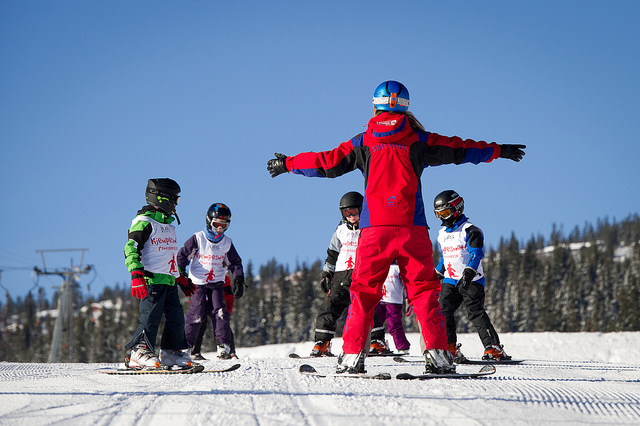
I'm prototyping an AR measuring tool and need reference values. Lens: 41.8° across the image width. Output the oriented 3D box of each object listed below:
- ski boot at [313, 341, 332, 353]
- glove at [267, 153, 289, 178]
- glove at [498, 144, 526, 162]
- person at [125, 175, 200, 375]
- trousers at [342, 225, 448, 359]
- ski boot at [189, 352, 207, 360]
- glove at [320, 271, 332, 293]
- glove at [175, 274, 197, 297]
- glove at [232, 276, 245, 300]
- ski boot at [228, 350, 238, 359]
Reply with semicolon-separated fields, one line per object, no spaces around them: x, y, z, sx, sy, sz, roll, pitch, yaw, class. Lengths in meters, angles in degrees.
0.076;2.943;18.429;0.282;0.246;0.534;-9;-12;34;ski boot
-0.801;-0.849;14.737;0.322;0.444;0.372;-11;-14;42;glove
3.297;-1.035;14.528;0.425;0.341;0.455;-5;-11;13;glove
-3.076;1.177;15.822;1.140;3.634;0.826;1;-10;-15;person
1.239;1.331;14.399;1.713;2.177;0.653;-3;-10;5;trousers
-2.741;3.234;18.866;0.445;0.199;0.154;-17;-17;39;ski boot
0.101;1.506;18.051;0.129;0.384;0.269;6;10;44;glove
-2.702;1.479;16.834;0.286;0.446;0.128;-20;26;7;glove
-1.815;1.631;18.399;0.294;0.427;0.146;-14;-17;37;glove
-1.984;3.171;18.859;0.121;0.167;0.059;5;23;43;ski boot
